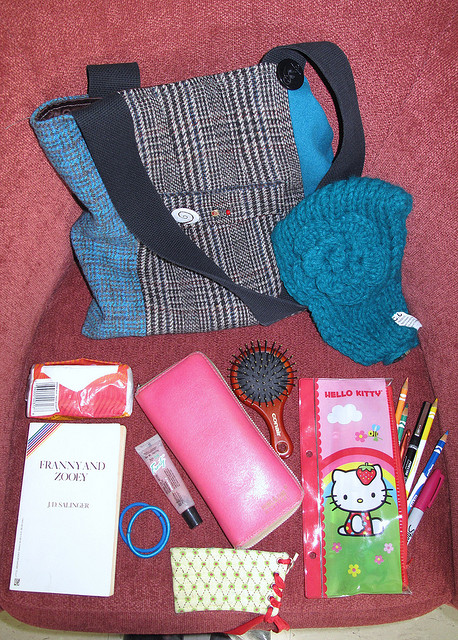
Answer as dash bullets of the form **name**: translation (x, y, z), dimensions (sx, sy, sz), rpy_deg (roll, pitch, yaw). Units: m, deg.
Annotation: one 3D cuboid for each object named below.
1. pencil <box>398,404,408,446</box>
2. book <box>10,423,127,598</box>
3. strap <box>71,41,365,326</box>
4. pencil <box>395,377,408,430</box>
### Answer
- **pencil**: translation (0.220, 0.132, 0.713), dimensions (0.008, 0.008, 0.058), rpy_deg (10, 90, 12)
- **book**: translation (-0.190, 0.235, 0.673), dimensions (0.186, 0.037, 0.258), rpy_deg (-7, 60, 0)
- **strap**: translation (0.028, -0.143, 0.653), dimensions (0.302, 0.252, 0.205), rpy_deg (-25, 56, -9)
- **pencil**: translation (0.218, 0.104, 0.706), dimensions (0.009, 0.009, 0.079), rpy_deg (10, 90, -10)
